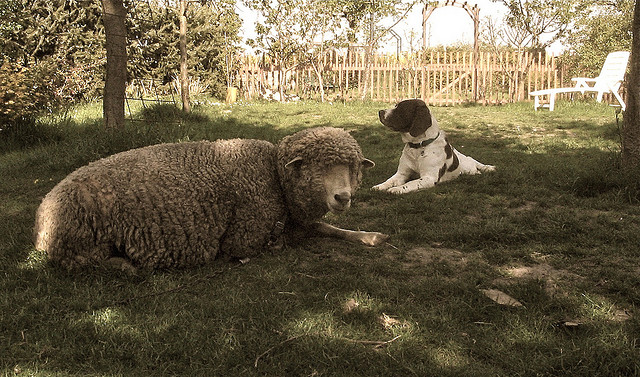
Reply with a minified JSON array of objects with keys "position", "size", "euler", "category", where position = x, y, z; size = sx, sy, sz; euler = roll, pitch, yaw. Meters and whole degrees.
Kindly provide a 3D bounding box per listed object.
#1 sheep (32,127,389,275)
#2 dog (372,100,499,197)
[{"position":[-1.894,0.269,9.041],"size":[4.650,1.810,2.464],"euler":[-4,11,-17],"category":"sheep"},{"position":[2.511,-0.921,12.525],"size":[3.459,1.879,1.149],"euler":[-5,7,-37],"category":"dog"}]
